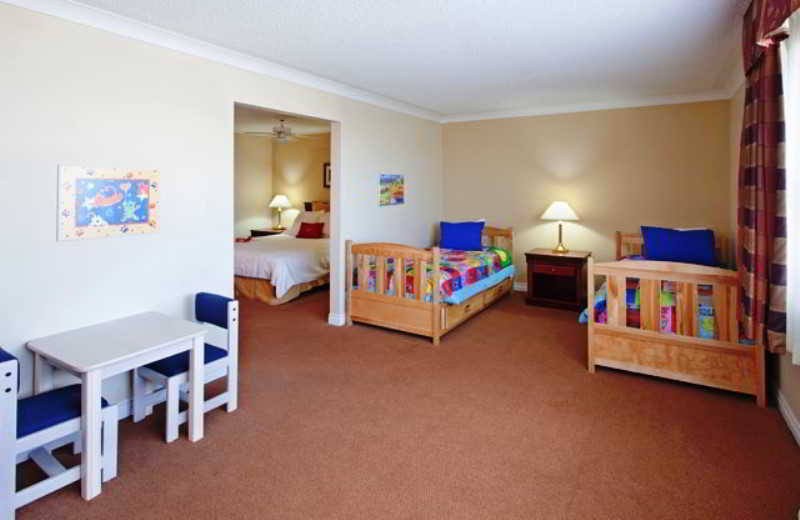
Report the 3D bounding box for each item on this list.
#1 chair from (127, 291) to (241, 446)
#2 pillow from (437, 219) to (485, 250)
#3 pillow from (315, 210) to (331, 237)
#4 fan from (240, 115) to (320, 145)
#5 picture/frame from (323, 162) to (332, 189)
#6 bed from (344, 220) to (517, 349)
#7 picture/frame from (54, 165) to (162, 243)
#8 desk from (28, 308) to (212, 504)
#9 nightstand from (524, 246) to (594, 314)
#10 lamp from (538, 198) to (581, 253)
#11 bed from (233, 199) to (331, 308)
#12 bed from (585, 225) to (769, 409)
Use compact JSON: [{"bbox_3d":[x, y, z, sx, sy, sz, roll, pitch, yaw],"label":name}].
[{"bbox_3d":[-1.747,0.799,4.317,0.539,0.942,0.694,9,13,32],"label":"chair"},{"bbox_3d":[0.840,-0.328,7.145,0.471,0.314,0.164,0,-30,25],"label":"pillow"},{"bbox_3d":[-1.209,-0.557,8.439,0.123,0.371,0.402,9,-10,-37],"label":"pillow"},{"bbox_3d":[-1.802,-1.974,8.193,0.693,0.216,0.679,0,3,-33],"label":"fan"},{"bbox_3d":[-1.286,-1.458,9.144,0.143,0.454,0.069,7,10,40],"label":"picture/frame"},{"bbox_3d":[0.190,0.265,6.195,1.229,1.005,1.249,5,9,29],"label":"bed"},{"bbox_3d":[-2.345,-0.443,4.163,0.025,0.516,0.662,4,4,41],"label":"picture/frame"},{"bbox_3d":[-2.235,1.043,4.064,1.037,0.871,0.882,4,9,25],"label":"desk"},{"bbox_3d":[2.014,0.232,6.818,0.758,0.702,0.644,4,8,21],"label":"nightstand"},{"bbox_3d":[2.028,-0.439,7.068,0.619,0.841,0.674,0,2,26],"label":"lamp"},{"bbox_3d":[-1.488,-0.045,7.578,1.127,0.823,1.615,5,8,30],"label":"bed"},{"bbox_3d":[3.006,0.012,5.367,1.478,1.352,2.475,4,31,34],"label":"bed"}]
